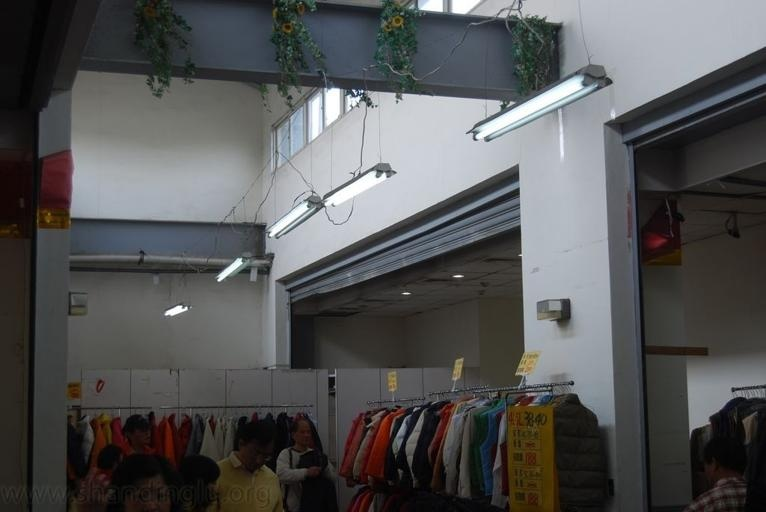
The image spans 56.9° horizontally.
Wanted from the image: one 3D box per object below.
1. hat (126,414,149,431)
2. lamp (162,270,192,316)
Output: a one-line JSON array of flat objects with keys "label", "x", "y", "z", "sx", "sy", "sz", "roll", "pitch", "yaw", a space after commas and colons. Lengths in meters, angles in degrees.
[{"label": "hat", "x": -2.678, "y": 1.813, "z": 7.607, "sx": 0.220, "sy": 0.177, "sz": 0.165, "roll": -20, "pitch": -9, "yaw": 14}, {"label": "lamp", "x": -4.131, "y": 0.801, "z": 14.186, "sx": 0.544, "sy": 0.862, "sz": 0.160, "roll": 5, "pitch": -14, "yaw": -18}]
